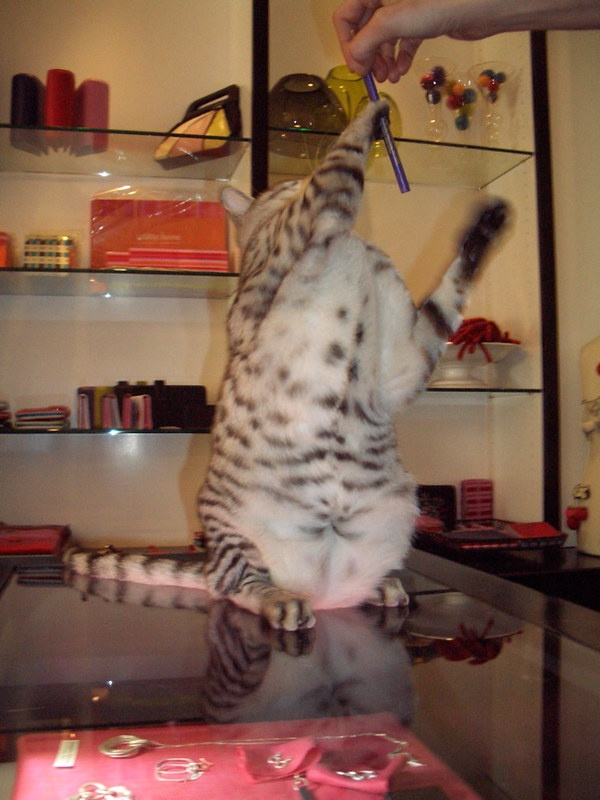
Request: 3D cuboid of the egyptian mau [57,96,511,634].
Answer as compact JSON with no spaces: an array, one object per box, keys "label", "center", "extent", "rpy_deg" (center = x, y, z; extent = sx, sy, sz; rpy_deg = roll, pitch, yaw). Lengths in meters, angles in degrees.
[{"label":"egyptian mau","center":[-0.004,-0.047,0.846],"extent":[0.293,0.508,0.348],"rpy_deg":[0,-2,-37]}]
